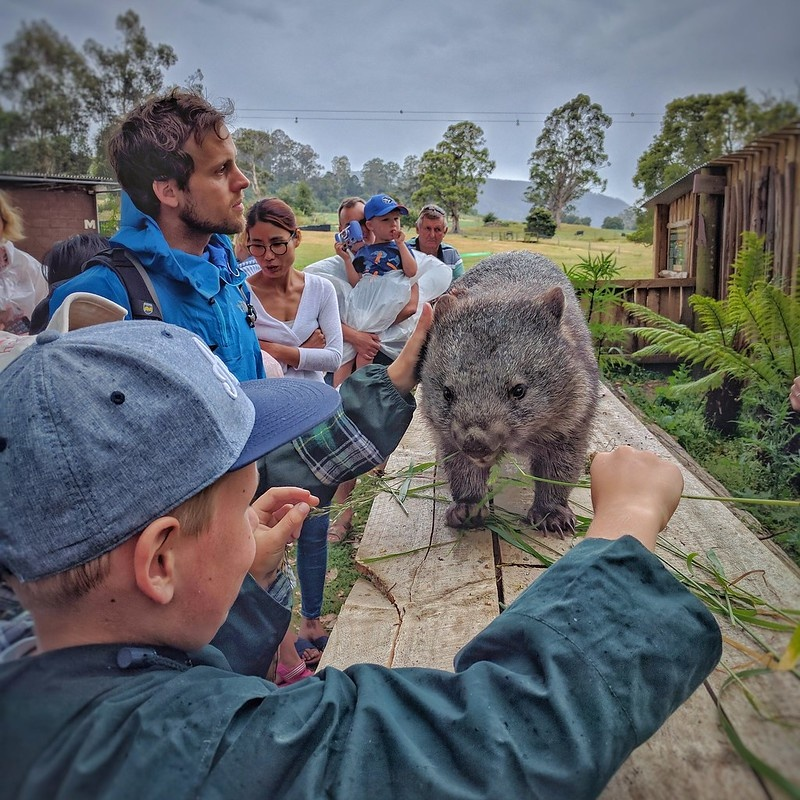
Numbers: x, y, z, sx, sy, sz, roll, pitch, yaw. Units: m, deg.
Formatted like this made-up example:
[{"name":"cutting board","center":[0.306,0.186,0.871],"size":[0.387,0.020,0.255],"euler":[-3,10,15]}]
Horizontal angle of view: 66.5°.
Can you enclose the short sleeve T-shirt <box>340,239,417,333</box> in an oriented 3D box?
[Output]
[{"name":"short sleeve T-shirt","center":[-0.142,-0.984,5.336],"size":[0.762,0.776,0.333],"euler":[1,-5,6]}]

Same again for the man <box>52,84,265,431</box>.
[{"name":"man","center":[-1.051,-0.639,2.767],"size":[0.702,1.194,1.166],"euler":[3,10,14]}]

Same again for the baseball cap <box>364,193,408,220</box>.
[{"name":"baseball cap","center":[-0.121,-1.593,5.028],"size":[0.313,0.153,0.222],"euler":[7,27,37]}]
